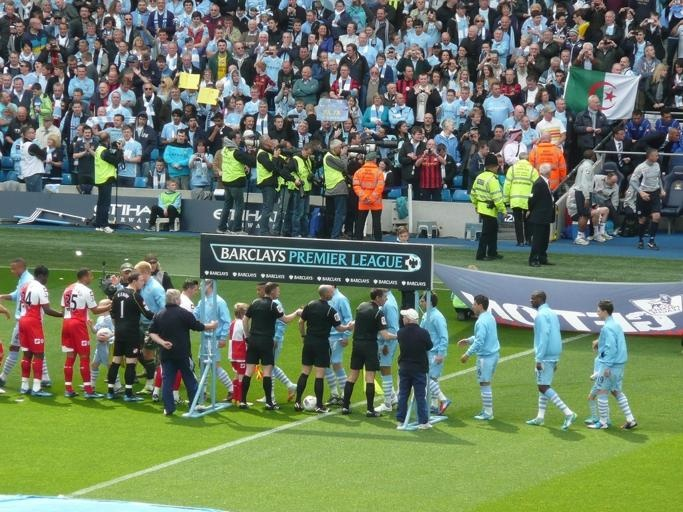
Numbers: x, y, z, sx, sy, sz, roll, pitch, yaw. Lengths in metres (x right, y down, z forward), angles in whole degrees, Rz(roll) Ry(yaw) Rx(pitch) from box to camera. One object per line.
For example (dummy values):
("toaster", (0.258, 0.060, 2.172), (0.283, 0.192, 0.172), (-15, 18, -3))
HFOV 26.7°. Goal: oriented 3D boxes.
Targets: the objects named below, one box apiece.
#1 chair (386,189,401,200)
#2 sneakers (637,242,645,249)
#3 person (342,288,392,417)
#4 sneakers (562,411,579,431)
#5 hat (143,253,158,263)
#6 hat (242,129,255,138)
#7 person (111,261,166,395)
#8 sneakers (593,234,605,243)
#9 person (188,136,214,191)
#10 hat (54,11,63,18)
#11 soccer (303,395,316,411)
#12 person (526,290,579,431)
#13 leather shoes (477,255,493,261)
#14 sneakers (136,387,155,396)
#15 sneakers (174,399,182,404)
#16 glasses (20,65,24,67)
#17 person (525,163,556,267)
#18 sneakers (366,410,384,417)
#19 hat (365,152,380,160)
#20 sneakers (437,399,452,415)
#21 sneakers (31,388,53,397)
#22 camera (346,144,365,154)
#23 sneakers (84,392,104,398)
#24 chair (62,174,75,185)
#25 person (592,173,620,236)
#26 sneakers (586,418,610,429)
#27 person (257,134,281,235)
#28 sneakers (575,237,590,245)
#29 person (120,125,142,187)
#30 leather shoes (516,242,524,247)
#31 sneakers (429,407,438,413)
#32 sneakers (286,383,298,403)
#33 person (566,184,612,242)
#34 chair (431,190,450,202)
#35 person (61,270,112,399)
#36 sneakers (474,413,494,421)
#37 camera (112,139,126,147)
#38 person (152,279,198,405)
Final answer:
("chair", (1.517, -1.788, 42.040), (0.338, 0.334, 0.346), (3, 9, 1))
("sneakers", (7.988, -0.288, 38.418), (0.153, 0.188, 0.433), (2, 5, 10))
("person", (0.545, 1.930, 29.301), (1.030, 2.539, 0.560), (-1, 0, 3))
("sneakers", (4.556, 3.256, 28.815), (0.210, 0.501, 0.168), (7, 30, -16))
("hat", (-4.304, 0.036, 32.308), (0.196, 0.229, 0.247), (0, 9, -9))
("hat", (-2.567, -3.292, 39.210), (0.245, 0.126, 0.330), (-3, 1, -22))
("person", (-4.408, 1.596, 30.306), (1.250, 3.155, 0.974), (5, 14, -20))
("sneakers", (7.057, -0.499, 39.522), (0.350, 0.178, 0.143), (12, 12, 19))
("person", (-4.070, -2.583, 41.617), (0.677, 1.488, 0.821), (-1, 0, -6))
("hat", (-9.160, -7.724, 46.415), (0.254, 0.187, 0.368), (1, 0, -4))
("soccer", (-0.667, 3.003, 29.702), (0.231, 0.286, 0.280), (5, 1, 23))
("person", (4.157, 2.061, 28.955), (0.867, 2.662, 0.547), (-1, 0, 8))
("leather shoes", (3.670, 0.036, 36.853), (0.407, 0.176, 0.143), (-2, 6, -2))
("sneakers", (-4.139, 2.819, 30.425), (0.398, 0.178, 0.139), (3, 2, 10))
("sneakers", (-3.417, 3.000, 30.033), (0.149, 0.066, 0.050), (0, 4, -16))
("glasses", (-9.948, -5.876, 44.853), (0.066, 0.023, 0.071), (-1, -33, 5))
("person", (4.972, -1.022, 35.919), (0.636, 2.425, 0.670), (-1, 0, 7))
("sneakers", (0.669, 3.185, 29.434), (0.323, 0.139, 0.107), (1, 1, -25))
("hat", (0.770, -2.597, 37.689), (0.279, 0.243, 0.357), (-1, 0, -3))
("sneakers", (2.090, 3.028, 29.430), (0.206, 0.148, 0.436), (15, -35, 8))
("sneakers", (-6.299, 2.819, 30.190), (0.452, 0.184, 0.165), (0, 0, -2))
("camera", (0.379, -2.818, 38.269), (0.459, 0.211, 0.388), (-1, 0, -1))
("sneakers", (-5.195, 2.878, 30.103), (0.403, 0.178, 0.150), (0, 0, -10))
("chair", (-8.284, -2.320, 43.748), (0.542, 0.354, 0.285), (-1, 0, 41))
("person", (7.286, -1.351, 39.418), (0.719, 1.778, 1.194), (-1, 0, 25))
("sneakers", (5.153, 3.304, 28.851), (0.529, 0.244, 0.182), (3, -6, 16))
("person", (-2.015, -1.925, 39.054), (0.612, 2.647, 0.864), (-1, 0, -4))
("sneakers", (6.537, -0.408, 39.147), (0.392, 0.277, 0.154), (1, 3, 3))
("person", (-6.243, -2.888, 42.265), (0.597, 1.762, 0.730), (-1, 0, -32))
("leather shoes", (4.808, -0.326, 38.860), (0.155, 0.159, 0.098), (3, 3, 9))
("sneakers", (1.881, 3.120, 29.612), (0.116, 0.148, 0.328), (0, -10, 9))
("sneakers", (-1.057, 2.791, 30.236), (0.209, 0.449, 0.159), (2, 37, -4))
("person", (6.722, -1.371, 39.493), (1.067, 2.132, 0.785), (0, -7, 9))
("chair", (2.875, -1.729, 41.192), (0.407, 0.394, 0.420), (1, -3, 11))
("person", (-5.456, 1.583, 30.268), (0.825, 2.709, 0.912), (-1, 0, -11))
("sneakers", (2.883, 3.219, 29.270), (0.370, 0.175, 0.135), (2, -2, 8))
("camera", (-6.303, -3.147, 40.517), (0.256, 0.143, 0.355), (3, 2, 3))
("person", (-3.336, 1.934, 29.417), (1.233, 2.497, 0.776), (-1, 7, -12))
